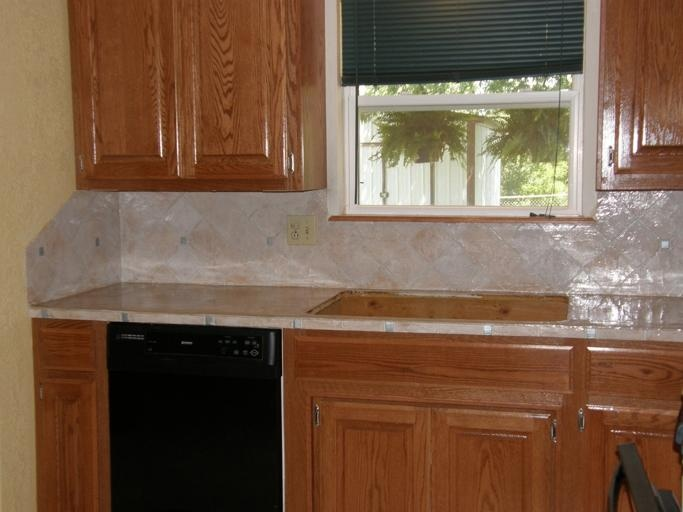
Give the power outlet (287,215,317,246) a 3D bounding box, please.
[{"bbox_3d":[-0.186,-0.127,3.008,0.129,0.135,0.018,0,5,6],"label":"power outlet"}]
